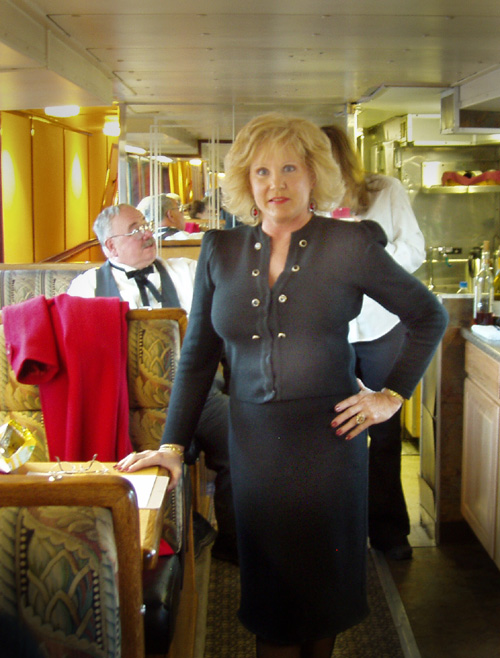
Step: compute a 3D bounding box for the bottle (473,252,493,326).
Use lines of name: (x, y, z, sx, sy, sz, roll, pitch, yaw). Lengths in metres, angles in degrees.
bottle: (1.033, -0.182, 2.478, 0.086, 0.325, 0.238, 2, 6, 21)

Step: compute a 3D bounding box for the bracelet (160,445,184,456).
bracelet: (-0.167, 0.255, 1.193, 0.031, 0.014, 0.031, 6, -2, -12)

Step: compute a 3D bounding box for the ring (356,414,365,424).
ring: (0.222, 0.185, 1.142, 0.020, 0.021, 0.011, -2, 6, -19)

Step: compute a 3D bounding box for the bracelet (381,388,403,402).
bracelet: (0.286, 0.137, 1.159, 0.033, 0.010, 0.031, 28, -11, 28)
